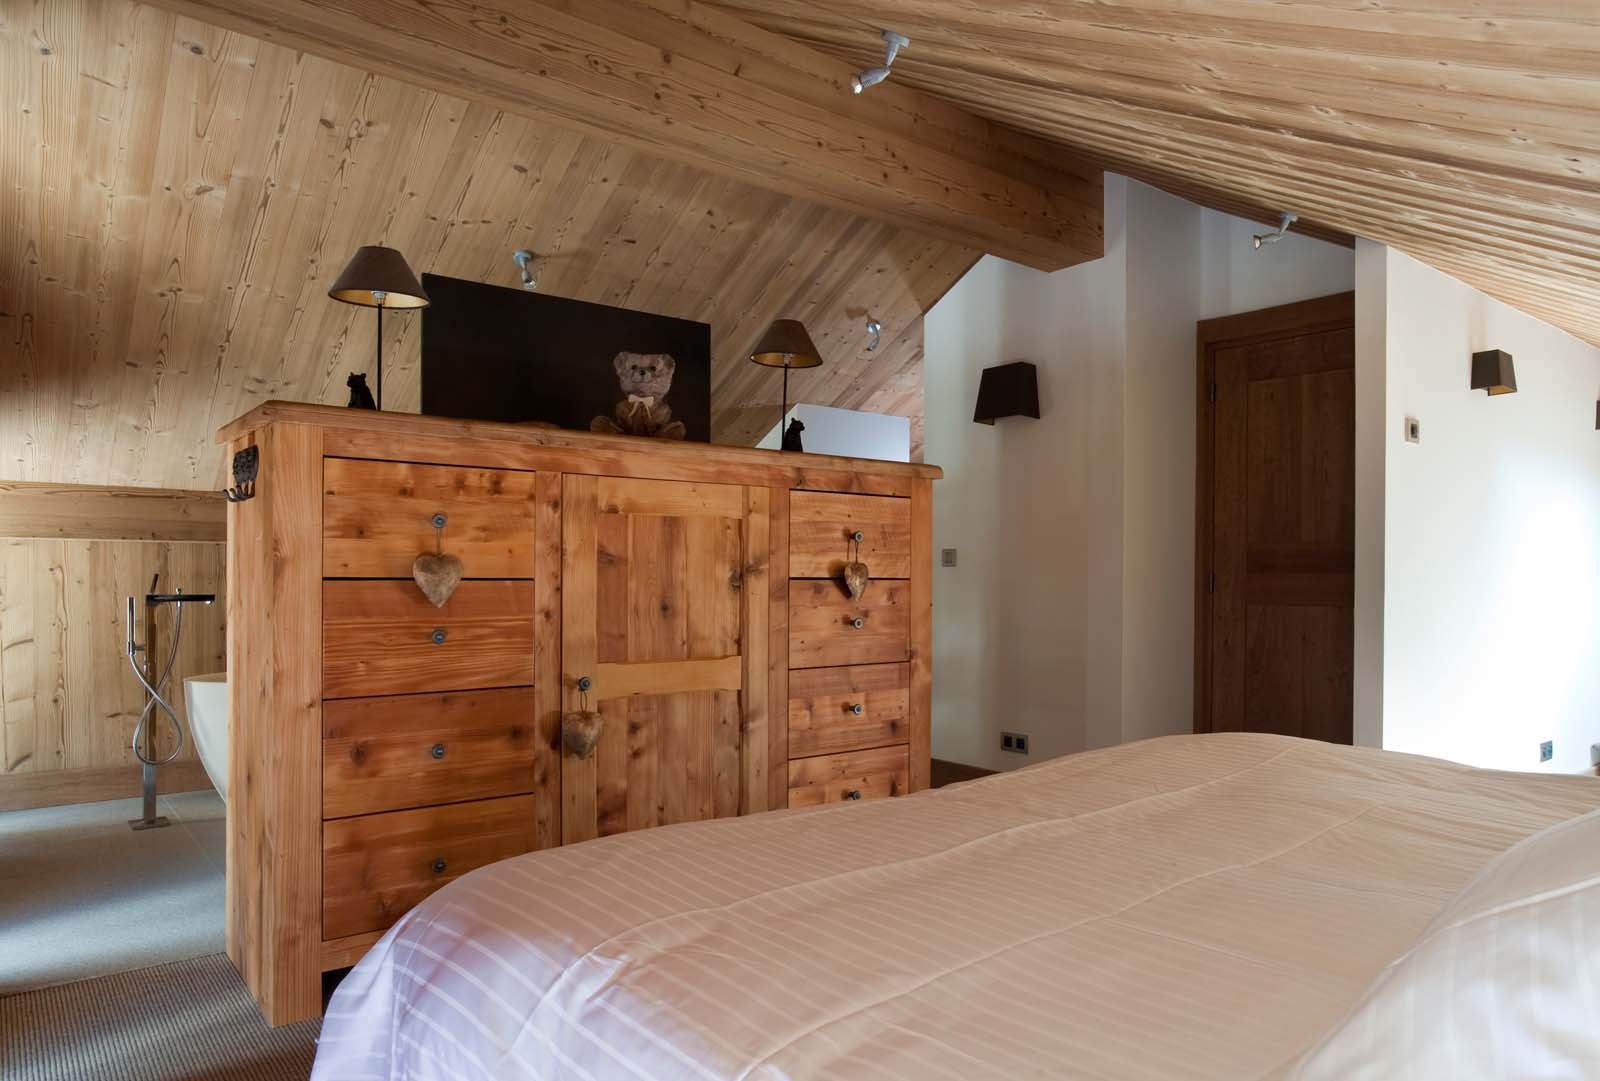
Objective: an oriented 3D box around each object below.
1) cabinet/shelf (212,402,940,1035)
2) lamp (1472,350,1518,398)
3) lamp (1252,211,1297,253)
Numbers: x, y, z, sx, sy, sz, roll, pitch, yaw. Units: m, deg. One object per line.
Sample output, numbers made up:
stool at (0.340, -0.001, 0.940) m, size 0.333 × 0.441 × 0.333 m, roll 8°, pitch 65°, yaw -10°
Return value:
cabinet/shelf at (-0.707, 0.493, 3.218) m, size 2.008 × 1.471 × 0.774 m, roll 1°, pitch -3°, yaw -37°
lamp at (3.209, -0.755, 5.242) m, size 0.314 × 0.223 × 0.179 m, roll 0°, pitch 0°, yaw -38°
lamp at (2.217, -1.442, 5.237) m, size 0.159 × 0.194 × 0.248 m, roll 12°, pitch 15°, yaw 40°
